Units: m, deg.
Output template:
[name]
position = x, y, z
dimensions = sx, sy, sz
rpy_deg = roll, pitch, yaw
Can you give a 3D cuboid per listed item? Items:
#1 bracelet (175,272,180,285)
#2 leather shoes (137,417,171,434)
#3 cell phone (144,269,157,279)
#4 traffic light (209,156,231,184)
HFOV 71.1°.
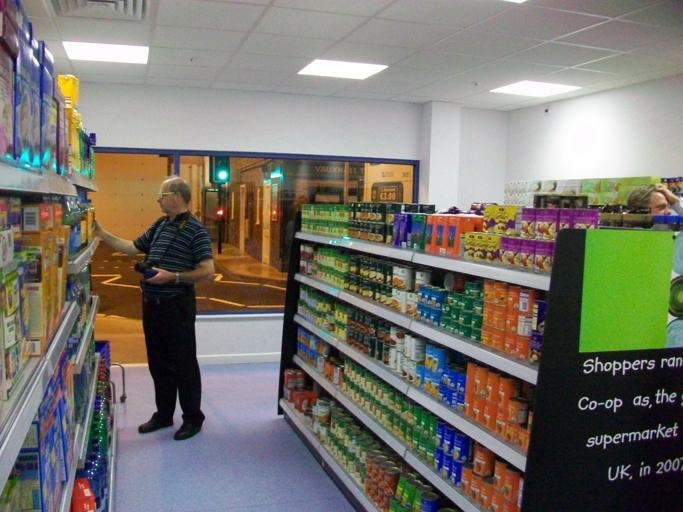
[bracelet]
position = -1.425, 0.199, 4.177
dimensions = 0.035, 0.109, 0.122
rpy_deg = 1, 5, -19
[leather shoes]
position = -1.835, 1.670, 4.787
dimensions = 0.355, 0.142, 0.120
rpy_deg = 4, -4, -38
[cell phone]
position = -1.597, 0.150, 4.027
dimensions = 0.069, 0.088, 0.089
rpy_deg = -1, -20, -35
[traffic light]
position = -1.782, -1.262, 7.081
dimensions = 0.314, 0.397, 0.153
rpy_deg = 2, 4, -17
